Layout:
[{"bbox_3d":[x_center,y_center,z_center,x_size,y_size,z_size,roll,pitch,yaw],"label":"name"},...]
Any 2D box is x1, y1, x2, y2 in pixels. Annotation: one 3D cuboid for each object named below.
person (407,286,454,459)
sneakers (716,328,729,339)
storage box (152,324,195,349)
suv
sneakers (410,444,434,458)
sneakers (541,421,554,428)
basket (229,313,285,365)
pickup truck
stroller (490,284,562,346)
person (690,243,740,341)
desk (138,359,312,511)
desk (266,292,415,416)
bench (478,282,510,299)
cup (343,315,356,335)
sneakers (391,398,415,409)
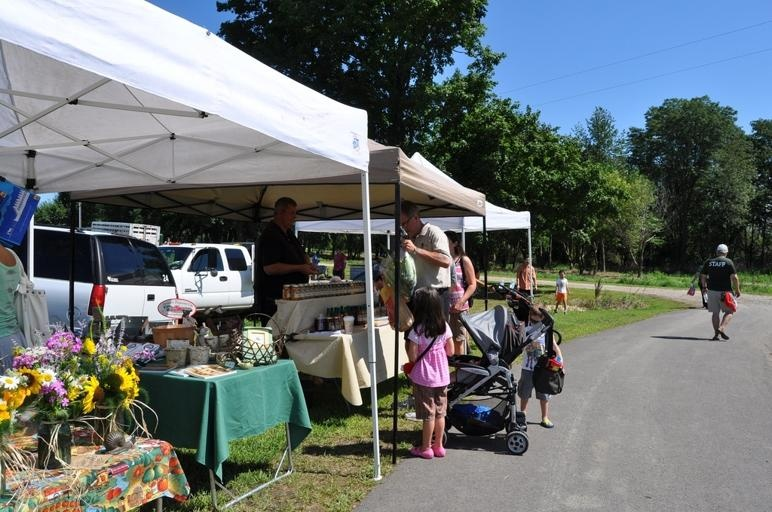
[{"bbox_3d":[0.502,1.393,7.416,0.520,2.044,0.377,0,8,1],"label":"person"},{"bbox_3d":[8.144,1.869,15.051,0.182,0.219,0.490,-2,-5,33],"label":"sneakers"},{"bbox_3d":[-2.348,0.875,6.840,0.335,0.166,0.240,-3,-4,23],"label":"storage box"},{"bbox_3d":[-4.620,0.369,10.564,3.124,1.672,1.945,7,3,21],"label":"suv"},{"bbox_3d":[0.450,2.361,7.533,0.243,0.107,0.128,4,1,23],"label":"sneakers"},{"bbox_3d":[2.193,2.264,8.455,0.078,0.064,0.153,0,-5,-28],"label":"sneakers"},{"bbox_3d":[-1.521,0.964,6.954,0.654,0.715,0.681,2,-5,0],"label":"basket"},{"bbox_3d":[-4.696,0.740,16.520,1.766,1.585,2.765,-3,-6,21],"label":"pickup truck"},{"bbox_3d":[1.939,0.720,8.240,0.881,0.943,0.613,-6,7,-7],"label":"stroller"},{"bbox_3d":[8.143,0.854,15.127,0.789,2.286,1.221,3,8,17],"label":"person"},{"bbox_3d":[-1.653,1.677,6.612,1.378,1.114,1.464,-3,-5,27],"label":"desk"},{"bbox_3d":[-0.611,1.246,8.604,1.334,1.222,2.107,-1,-1,28],"label":"desk"},{"bbox_3d":[2.624,0.859,15.289,1.096,0.295,1.178,0,2,25],"label":"bench"},{"bbox_3d":[-0.501,0.955,8.629,0.173,0.212,0.185,-2,-2,0],"label":"cup"},{"bbox_3d":[0.278,2.153,9.135,0.362,0.171,0.130,1,-5,22],"label":"sneakers"}]
